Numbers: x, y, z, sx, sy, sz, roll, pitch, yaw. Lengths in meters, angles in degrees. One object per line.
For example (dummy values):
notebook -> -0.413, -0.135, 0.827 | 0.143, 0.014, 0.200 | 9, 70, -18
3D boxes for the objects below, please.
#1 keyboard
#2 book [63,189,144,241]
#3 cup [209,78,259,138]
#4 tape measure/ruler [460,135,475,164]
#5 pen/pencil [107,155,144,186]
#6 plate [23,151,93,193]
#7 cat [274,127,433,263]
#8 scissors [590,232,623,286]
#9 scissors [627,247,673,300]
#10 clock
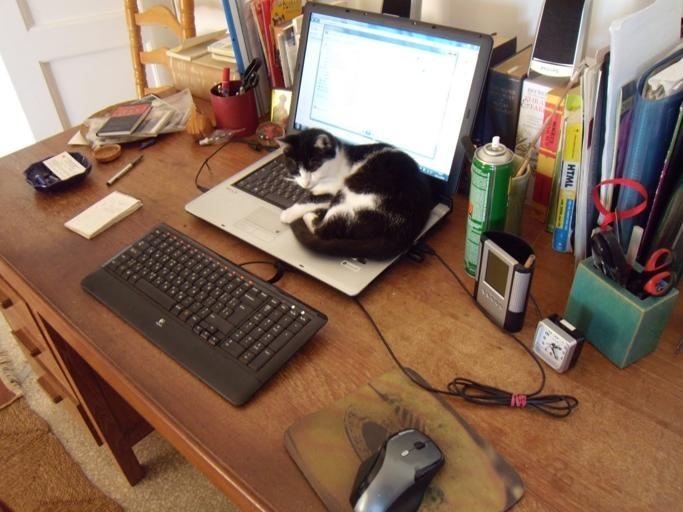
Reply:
keyboard -> -0.251, 0.118, 0.929 | 0.495, 0.055, 0.241 | 29, 53, 28
book -> -0.539, -0.092, 1.156 | 0.094, 0.019, 0.137 | 22, 52, 25
cup -> -0.282, -0.382, 1.374 | 0.134, 0.156, 0.144 | -1, 47, 1
tape measure/ruler -> 0.242, -0.196, 0.972 | 0.024, 0.006, 0.086 | -3, 40, 8
pen/pencil -> -0.542, -0.211, 1.292 | 0.015, 0.016, 0.131 | 12, 41, 24
plate -> -0.689, -0.205, 1.261 | 0.121, 0.034, 0.110 | -25, 49, -27
cat -> 0.022, -0.163, 1.150 | 0.320, 0.144, 0.422 | -18, 33, -10
scissors -> 0.421, 0.005, 0.817 | 0.026, 0.076, 0.056 | -3, 20, 38
scissors -> 0.491, 0.029, 0.831 | 0.027, 0.081, 0.080 | 32, 10, -9
clock -> 0.363, 0.150, 0.860 | 0.046, 0.064, 0.064 | -26, 46, -26
